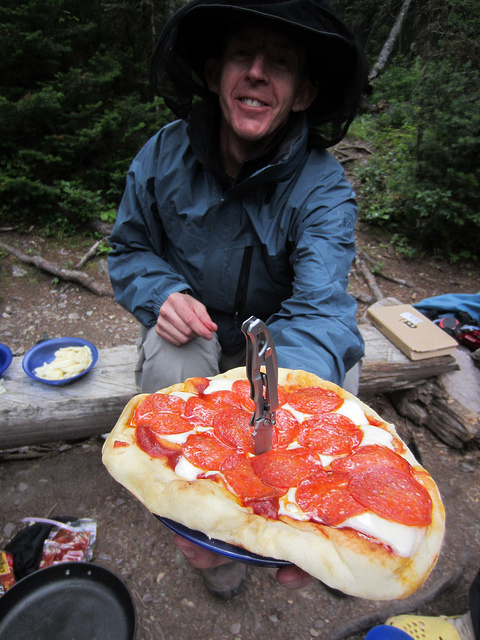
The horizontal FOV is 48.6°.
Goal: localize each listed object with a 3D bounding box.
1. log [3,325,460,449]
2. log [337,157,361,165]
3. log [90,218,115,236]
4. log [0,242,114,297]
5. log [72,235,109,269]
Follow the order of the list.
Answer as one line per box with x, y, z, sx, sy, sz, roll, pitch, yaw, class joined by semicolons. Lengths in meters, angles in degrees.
-0.045;0.336;2.600;1.882;0.140;0.292;-6;69;-12;log
1.720;-2.498;8.322;0.446;0.118;0.136;-4;29;-27;log
-1.570;-1.085;6.210;0.394;0.150;0.158;27;31;34;log
-1.920;-0.505;5.527;1.448;0.180;0.153;23;33;17;log
-1.606;-0.772;5.976;0.144;0.125;0.757;-12;24;35;log
